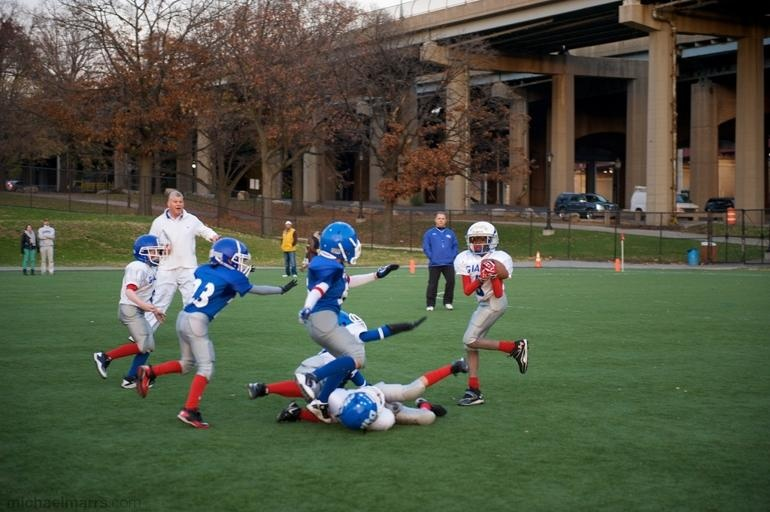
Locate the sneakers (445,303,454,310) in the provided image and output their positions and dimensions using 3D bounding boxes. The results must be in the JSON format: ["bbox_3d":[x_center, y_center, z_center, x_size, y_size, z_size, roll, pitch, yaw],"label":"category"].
[{"bbox_3d":[1.700,1.341,23.717,0.139,0.092,0.223,0,-2,-13],"label":"sneakers"}]

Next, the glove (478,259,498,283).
[{"bbox_3d":[1.824,0.246,15.702,0.394,0.306,0.165,3,2,18],"label":"glove"}]

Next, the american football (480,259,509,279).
[{"bbox_3d":[1.943,0.242,15.734,0.349,0.200,0.433,0,-7,41],"label":"american football"}]

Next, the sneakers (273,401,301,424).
[{"bbox_3d":[-1.603,2.710,15.218,0.234,0.242,0.478,-45,7,-25],"label":"sneakers"}]

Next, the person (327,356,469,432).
[{"bbox_3d":[0.161,2.439,15.157,2.076,0.671,1.229,-18,27,-38],"label":"person"}]

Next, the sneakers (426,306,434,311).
[{"bbox_3d":[1.202,1.388,23.583,0.170,0.134,0.423,0,-1,10],"label":"sneakers"}]

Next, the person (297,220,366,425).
[{"bbox_3d":[-0.923,1.140,14.922,1.120,3.338,1.066,0,10,-8],"label":"person"}]

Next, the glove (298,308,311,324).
[{"bbox_3d":[-1.288,0.948,14.461,0.195,0.254,0.386,0,9,-5],"label":"glove"}]

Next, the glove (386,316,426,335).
[{"bbox_3d":[0.353,1.139,14.818,0.602,0.345,0.614,1,9,2],"label":"glove"}]

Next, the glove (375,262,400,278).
[{"bbox_3d":[0.050,0.237,15.127,0.336,0.241,0.647,2,8,5],"label":"glove"}]

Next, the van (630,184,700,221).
[{"bbox_3d":[17.486,-3.574,56.527,2.888,2.259,4.972,-2,3,-40],"label":"van"}]
